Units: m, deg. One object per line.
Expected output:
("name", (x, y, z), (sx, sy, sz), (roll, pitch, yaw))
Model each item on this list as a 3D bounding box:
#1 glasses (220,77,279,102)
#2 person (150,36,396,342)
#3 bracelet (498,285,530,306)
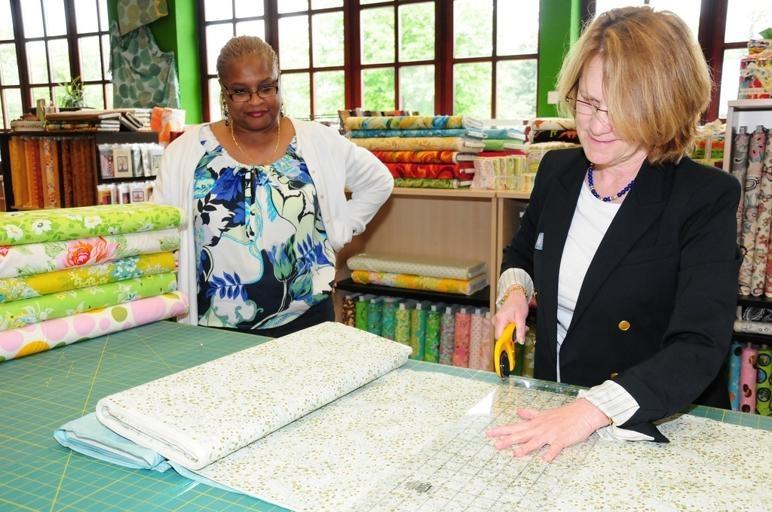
("glasses", (-0.511, -0.626, 1.996), (0.208, 0.082, 0.094), (-4, 10, -14))
("person", (-0.441, -0.286, 2.129), (0.901, 1.148, 0.370), (-8, 11, -29))
("bracelet", (0.396, 0.126, 1.607), (0.061, 0.032, 0.078), (-10, 25, 24))
